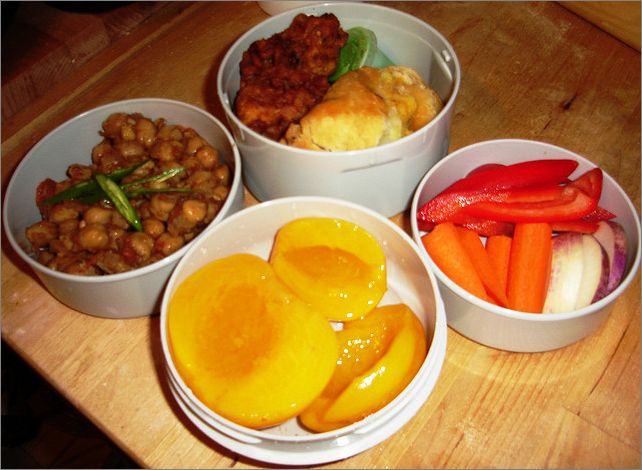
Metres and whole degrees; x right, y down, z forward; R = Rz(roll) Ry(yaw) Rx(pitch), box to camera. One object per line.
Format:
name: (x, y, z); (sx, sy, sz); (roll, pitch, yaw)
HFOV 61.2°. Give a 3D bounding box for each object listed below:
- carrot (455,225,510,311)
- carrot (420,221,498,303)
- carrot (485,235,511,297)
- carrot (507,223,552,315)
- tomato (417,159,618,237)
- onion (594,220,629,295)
carrot: (0.419, 0.044, 1.392); (0.054, 0.228, 0.074); (41, 109, -6)
carrot: (0.375, 0.041, 1.421); (0.248, 0.080, 0.146); (23, 56, -27)
carrot: (0.454, 0.076, 1.422); (0.046, 0.052, 0.164); (4, 66, -15)
carrot: (0.533, 0.079, 1.389); (0.081, 0.082, 0.281); (21, 65, -14)
tomato: (0.506, -0.081, 1.417); (0.403, 0.137, 0.237); (-17, 67, 1)
onion: (0.724, 0.056, 1.363); (0.034, 0.110, 0.151); (18, 63, -14)
